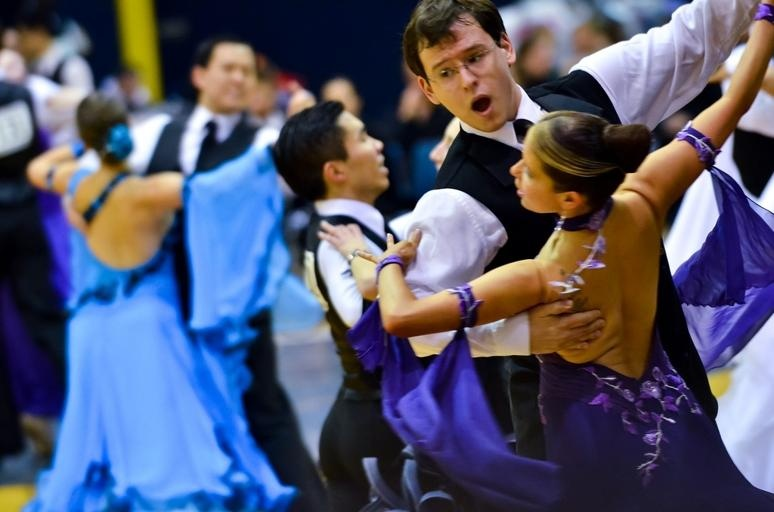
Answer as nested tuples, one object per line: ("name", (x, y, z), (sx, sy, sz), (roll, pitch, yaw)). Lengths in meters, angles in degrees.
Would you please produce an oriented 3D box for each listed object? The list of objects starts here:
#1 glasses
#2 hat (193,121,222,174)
("glasses", (0.292, -0.762, 4.053), (0.155, 0.154, 0.102), (24, -11, 10))
("hat", (-0.863, -0.501, 4.871), (0.066, 0.300, 0.077), (10, -16, 3))
